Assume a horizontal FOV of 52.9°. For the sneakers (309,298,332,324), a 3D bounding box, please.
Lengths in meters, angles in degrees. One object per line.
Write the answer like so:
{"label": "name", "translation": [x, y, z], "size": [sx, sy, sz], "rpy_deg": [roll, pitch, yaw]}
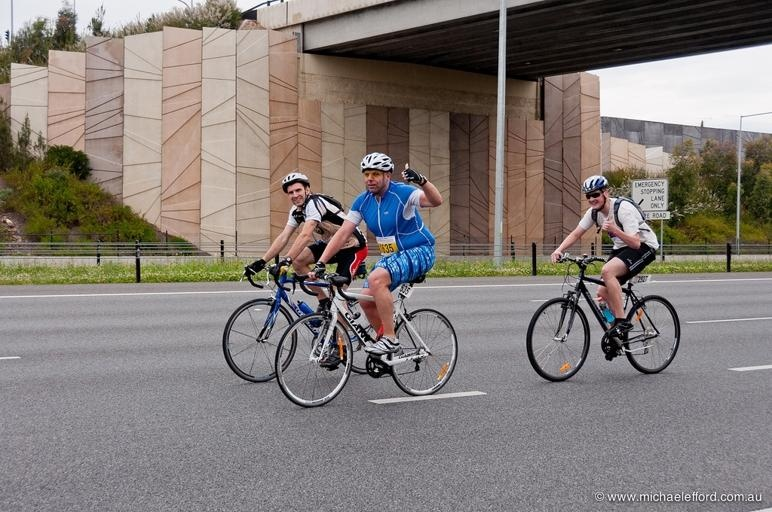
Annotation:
{"label": "sneakers", "translation": [-0.840, 0.716, 10.034], "size": [0.088, 0.318, 0.193], "rpy_deg": [22, -13, -24]}

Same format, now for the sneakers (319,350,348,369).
{"label": "sneakers", "translation": [-0.658, 1.310, 9.718], "size": [0.347, 0.259, 0.084], "rpy_deg": [-2, 5, -18]}

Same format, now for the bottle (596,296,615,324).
{"label": "bottle", "translation": [3.115, 0.793, 10.990], "size": [0.216, 0.356, 0.099], "rpy_deg": [2, 5, 26]}

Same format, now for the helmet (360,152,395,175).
{"label": "helmet", "translation": [-0.068, -1.173, 9.800], "size": [0.321, 0.267, 0.442], "rpy_deg": [1, 2, 20]}

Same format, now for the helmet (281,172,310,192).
{"label": "helmet", "translation": [-1.252, -1.097, 10.999], "size": [0.311, 0.169, 0.450], "rpy_deg": [-2, 12, 16]}

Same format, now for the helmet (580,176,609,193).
{"label": "helmet", "translation": [3.000, -1.042, 11.029], "size": [0.358, 0.191, 0.246], "rpy_deg": [-2, 0, -43]}

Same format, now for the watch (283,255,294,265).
{"label": "watch", "translation": [-1.305, 0.066, 10.290], "size": [0.091, 0.116, 0.118], "rpy_deg": [2, -5, 43]}

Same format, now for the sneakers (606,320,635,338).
{"label": "sneakers", "translation": [3.286, 1.026, 10.900], "size": [0.473, 0.217, 0.162], "rpy_deg": [5, -8, -30]}

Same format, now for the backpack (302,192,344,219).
{"label": "backpack", "translation": [-0.934, -0.825, 11.064], "size": [0.444, 0.493, 0.329], "rpy_deg": [11, 6, -31]}

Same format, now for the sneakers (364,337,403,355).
{"label": "sneakers", "translation": [-0.037, 1.149, 9.754], "size": [0.466, 0.230, 0.176], "rpy_deg": [2, 0, -15]}
